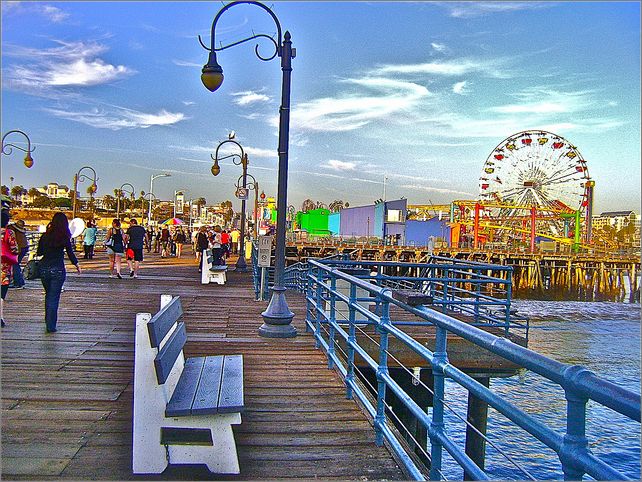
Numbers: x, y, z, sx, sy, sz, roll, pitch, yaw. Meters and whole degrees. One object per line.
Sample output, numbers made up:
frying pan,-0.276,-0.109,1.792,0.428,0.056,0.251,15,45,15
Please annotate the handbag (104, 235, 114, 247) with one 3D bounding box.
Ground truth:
handbag,-6.249,-0.007,17.147,0.304,0.269,0.168,-19,21,9

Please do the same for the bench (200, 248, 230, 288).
bench,-3.352,0.517,18.189,0.866,1.220,1.869,0,3,-4

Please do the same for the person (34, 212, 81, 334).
person,-4.221,0.488,9.262,0.597,1.912,0.501,2,4,-16

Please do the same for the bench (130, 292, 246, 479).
bench,-1.219,1.321,5.486,1.074,1.477,1.059,3,4,6

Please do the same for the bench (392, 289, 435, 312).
bench,0.770,0.467,4.842,0.216,0.113,0.522,2,4,-10

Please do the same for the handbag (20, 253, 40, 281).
handbag,-4.627,0.438,9.270,0.235,0.433,0.711,1,4,-27

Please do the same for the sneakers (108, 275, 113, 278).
sneakers,-6.562,1.101,18.100,0.087,0.111,0.258,1,-6,0
